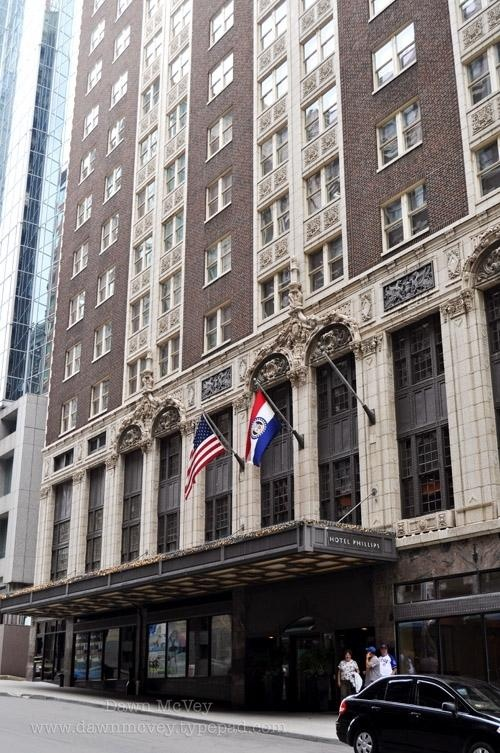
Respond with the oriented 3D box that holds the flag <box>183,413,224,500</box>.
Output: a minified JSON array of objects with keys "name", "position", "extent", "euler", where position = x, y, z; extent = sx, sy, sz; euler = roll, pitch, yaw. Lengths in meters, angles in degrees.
[{"name":"flag","position":[-1.501,2.506,26.792],"extent":[1.473,3.078,0.190],"euler":[-15,-45,15]}]

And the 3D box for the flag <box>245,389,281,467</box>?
[{"name":"flag","position":[0.508,1.797,25.997],"extent":[0.346,3.317,1.422],"euler":[26,-47,-23]}]
